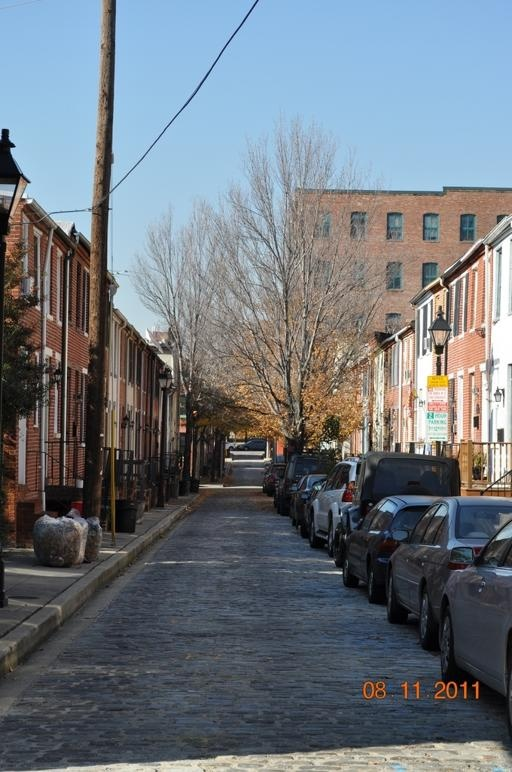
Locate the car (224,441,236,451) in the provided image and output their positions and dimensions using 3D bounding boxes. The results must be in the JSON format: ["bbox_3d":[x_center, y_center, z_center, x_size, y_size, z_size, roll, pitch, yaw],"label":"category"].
[{"bbox_3d":[-3.945,8.401,135.676,2.861,1.567,4.873,0,-4,-4],"label":"car"}]

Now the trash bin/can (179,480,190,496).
[{"bbox_3d":[-3.633,4.920,46.601,0.606,0.961,0.633,2,6,-1],"label":"trash bin/can"}]

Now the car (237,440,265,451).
[{"bbox_3d":[-0.915,8.796,144.459,3.818,1.410,1.917,3,-6,-1],"label":"car"}]

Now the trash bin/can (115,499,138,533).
[{"bbox_3d":[-2.975,2.900,21.337,0.595,0.645,0.625,2,-9,-14],"label":"trash bin/can"}]
